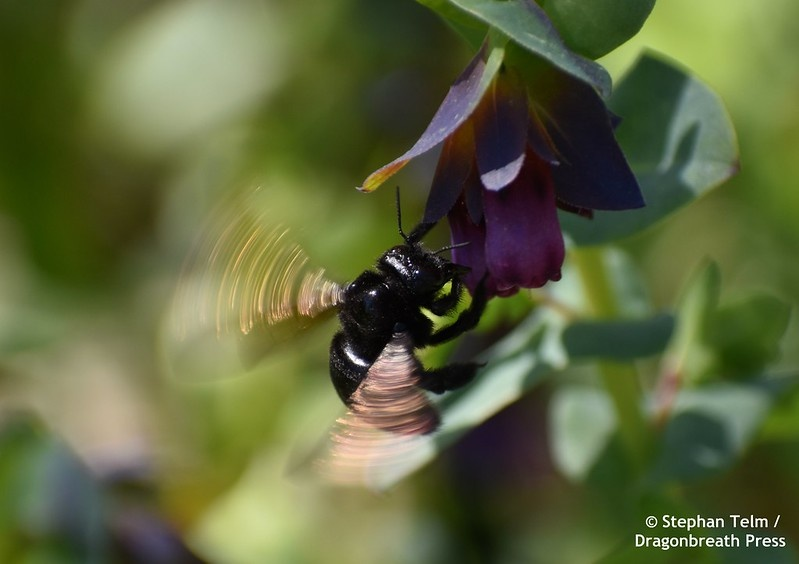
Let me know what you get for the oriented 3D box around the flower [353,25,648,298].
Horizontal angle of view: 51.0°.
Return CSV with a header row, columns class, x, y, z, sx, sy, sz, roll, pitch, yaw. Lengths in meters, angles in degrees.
class,x,y,z,sx,sy,sz,roll,pitch,yaw
flower,0.194,-0.129,1.310,0.298,0.386,0.244,-24,49,-17
